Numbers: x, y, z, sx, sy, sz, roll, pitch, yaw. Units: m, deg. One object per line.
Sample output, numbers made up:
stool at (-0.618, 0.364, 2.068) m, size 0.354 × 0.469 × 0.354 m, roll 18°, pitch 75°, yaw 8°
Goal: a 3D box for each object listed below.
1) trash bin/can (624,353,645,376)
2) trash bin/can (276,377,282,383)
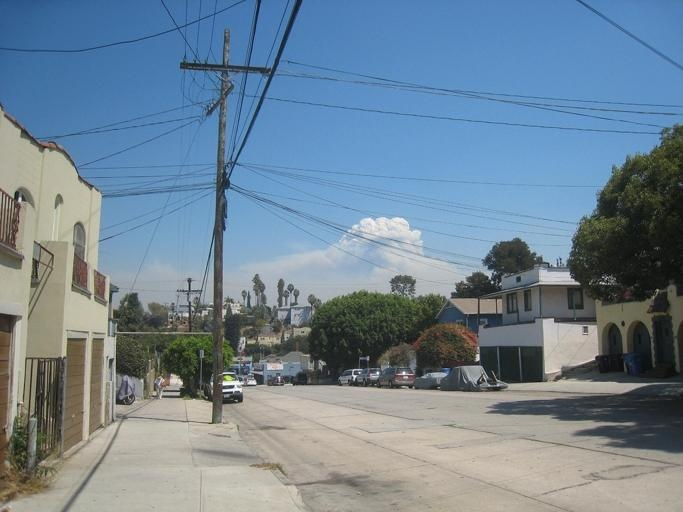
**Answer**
trash bin/can at (16.526, 6.134, 37.559) m, size 0.752 × 1.329 × 1.053 m, roll 8°, pitch -15°, yaw -41°
trash bin/can at (-6.968, 13.878, 74.215) m, size 0.458 × 1.107 × 0.543 m, roll 0°, pitch -8°, yaw -2°
